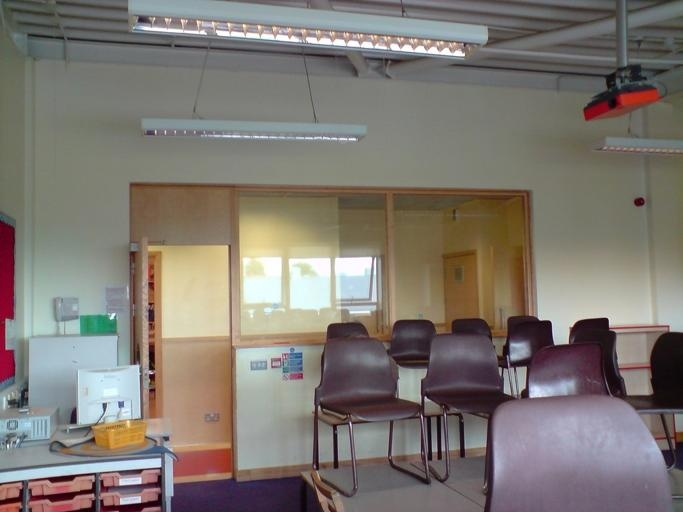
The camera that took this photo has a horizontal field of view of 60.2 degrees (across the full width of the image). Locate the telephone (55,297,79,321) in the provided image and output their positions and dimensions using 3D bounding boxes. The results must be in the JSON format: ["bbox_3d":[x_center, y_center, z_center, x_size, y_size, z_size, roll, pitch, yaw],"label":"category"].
[{"bbox_3d":[-2.589,0.501,5.537,0.129,0.226,0.221,-3,-3,18],"label":"telephone"}]

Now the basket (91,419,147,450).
[{"bbox_3d":[-1.448,1.166,3.859,0.255,0.100,0.172,0,-1,-44],"label":"basket"}]

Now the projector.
[{"bbox_3d":[2.213,-1.235,4.683,0.251,0.198,0.596,-1,-3,-26],"label":"projector"}]

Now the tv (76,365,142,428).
[{"bbox_3d":[-1.655,0.990,4.185,0.410,0.387,0.117,-1,-3,-27],"label":"tv"}]

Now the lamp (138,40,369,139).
[{"bbox_3d":[-0.803,-1.177,5.512,2.048,0.162,0.353,-2,-3,-7],"label":"lamp"}]
